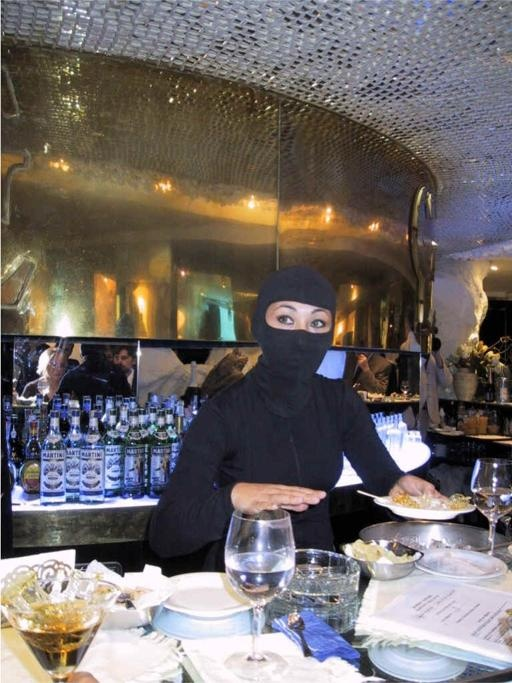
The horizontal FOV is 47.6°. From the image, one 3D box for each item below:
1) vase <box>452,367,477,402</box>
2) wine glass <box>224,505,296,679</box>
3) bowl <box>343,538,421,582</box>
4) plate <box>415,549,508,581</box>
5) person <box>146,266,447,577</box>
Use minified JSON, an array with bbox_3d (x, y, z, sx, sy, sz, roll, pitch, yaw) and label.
[{"bbox_3d":[2.482,0.516,6.855,0.328,0.402,0.339,1,-8,1],"label":"vase"},{"bbox_3d":[0.005,0.316,0.748,0.086,0.181,0.158,1,-3,-2],"label":"wine glass"},{"bbox_3d":[0.235,0.404,1.066,0.147,0.046,0.119,1,-3,7],"label":"bowl"},{"bbox_3d":[0.392,0.425,1.094,0.154,0.019,0.169,0,-3,24],"label":"plate"},{"bbox_3d":[0.099,0.179,1.499,0.524,0.793,0.861,-1,-4,34],"label":"person"}]
